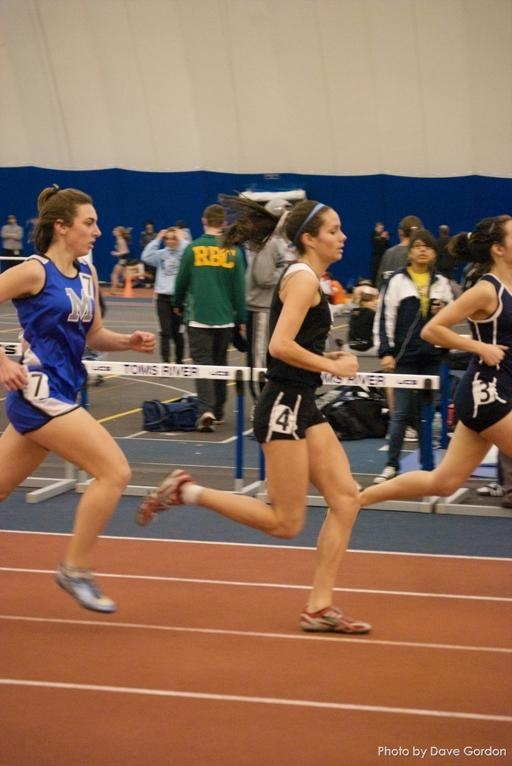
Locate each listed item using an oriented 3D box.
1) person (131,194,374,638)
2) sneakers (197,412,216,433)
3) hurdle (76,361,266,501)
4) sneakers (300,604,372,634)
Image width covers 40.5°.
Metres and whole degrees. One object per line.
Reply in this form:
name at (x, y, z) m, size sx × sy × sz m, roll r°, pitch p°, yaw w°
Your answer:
person at (0.137, 0.192, 3.042) m, size 0.881 × 1.930 × 0.767 m, roll 11°, pitch 20°, yaw 41°
sneakers at (-0.572, 0.460, 8.003) m, size 0.188 × 0.227 × 0.247 m, roll 4°, pitch -6°, yaw -6°
hurdle at (-0.539, 0.556, 6.152) m, size 1.788 × 0.986 × 1.118 m, roll 0°, pitch -3°, yaw 7°
sneakers at (0.328, 1.023, 3.025) m, size 0.349 × 0.125 × 0.111 m, roll 2°, pitch -11°, yaw 3°
